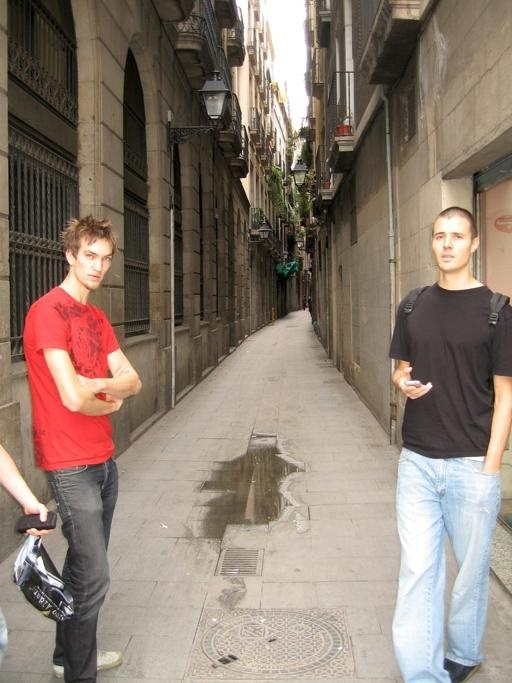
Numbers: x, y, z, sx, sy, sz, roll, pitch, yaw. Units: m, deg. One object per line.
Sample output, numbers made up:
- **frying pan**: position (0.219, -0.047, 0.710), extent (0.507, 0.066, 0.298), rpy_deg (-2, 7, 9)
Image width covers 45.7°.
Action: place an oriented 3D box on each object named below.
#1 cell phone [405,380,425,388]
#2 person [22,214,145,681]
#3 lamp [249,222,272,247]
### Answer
- **cell phone**: position (0.612, 0.164, 2.357), extent (0.069, 0.026, 0.045), rpy_deg (0, 2, 17)
- **person**: position (-0.677, 0.402, 2.405), extent (0.447, 1.826, 0.360), rpy_deg (-1, 2, -36)
- **lamp**: position (0.223, -5.324, 30.049), extent (0.862, 1.624, 0.948), rpy_deg (5, 24, 8)
